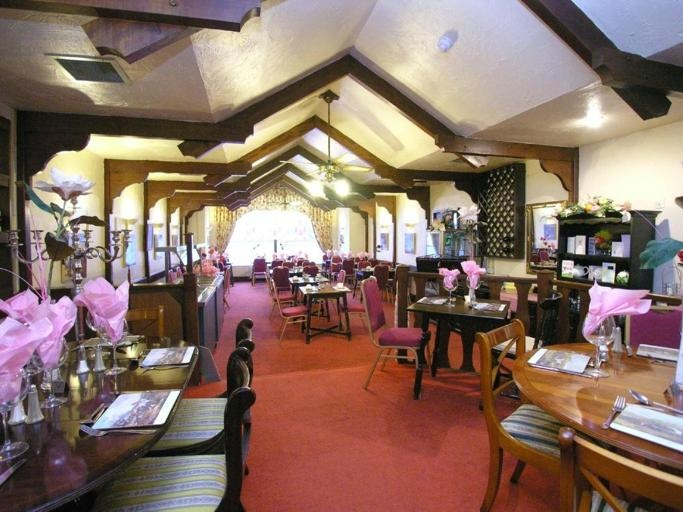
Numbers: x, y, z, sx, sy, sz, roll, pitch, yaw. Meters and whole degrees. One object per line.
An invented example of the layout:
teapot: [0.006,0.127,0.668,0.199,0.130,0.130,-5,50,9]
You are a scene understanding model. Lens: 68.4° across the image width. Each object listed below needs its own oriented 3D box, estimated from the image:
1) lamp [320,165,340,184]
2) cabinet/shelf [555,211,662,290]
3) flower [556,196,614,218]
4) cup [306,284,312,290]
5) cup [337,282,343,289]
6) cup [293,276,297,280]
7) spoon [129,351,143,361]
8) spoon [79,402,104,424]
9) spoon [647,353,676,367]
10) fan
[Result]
lamp: [-0.176,-1.241,7.653,0.289,0.322,0.427,-2,14,-3]
cabinet/shelf: [2.935,-0.022,5.821,0.328,0.750,0.882,10,-2,-42]
flower: [2.766,-0.517,5.630,0.381,0.172,0.349,-4,3,-31]
cup: [-0.495,0.473,7.493,0.060,0.061,0.110,3,2,6]
cup: [-0.029,0.456,7.713,0.069,0.071,0.128,7,-1,5]
cup: [-0.813,0.388,8.846,0.066,0.067,0.122,4,-5,0]
spoon: [-1.453,0.710,3.567,0.056,0.062,0.071,10,27,-4]
spoon: [-1.402,0.900,2.877,0.080,0.030,0.178,4,14,17]
spoon: [2.163,0.704,3.398,0.145,0.019,0.088,6,15,26]
fan: [-0.180,-1.745,7.723,1.342,1.267,1.304,-7,17,-28]
